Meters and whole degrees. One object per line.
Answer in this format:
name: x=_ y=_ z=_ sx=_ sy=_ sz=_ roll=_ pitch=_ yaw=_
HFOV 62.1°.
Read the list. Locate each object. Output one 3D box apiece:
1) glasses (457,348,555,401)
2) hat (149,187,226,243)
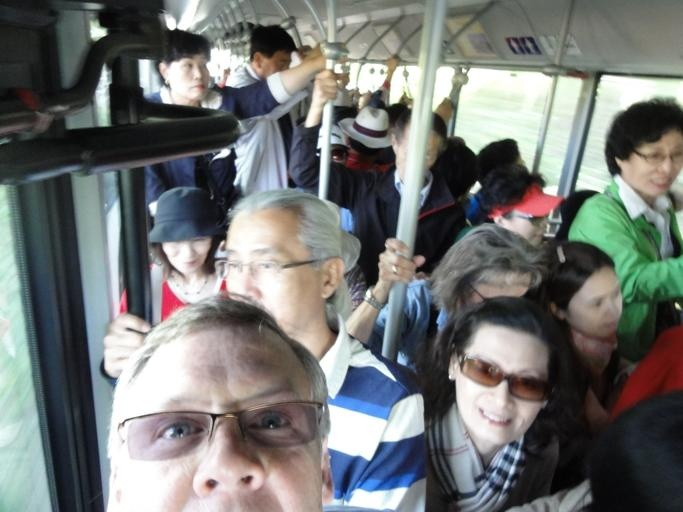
glasses: x=0.569 y=0.434 z=2.002 sx=0.315 sy=0.121 sz=0.104 roll=8 pitch=16 yaw=16
hat: x=-0.842 y=-0.212 z=3.016 sx=0.364 sy=0.264 sz=0.305 roll=1 pitch=16 yaw=-9
